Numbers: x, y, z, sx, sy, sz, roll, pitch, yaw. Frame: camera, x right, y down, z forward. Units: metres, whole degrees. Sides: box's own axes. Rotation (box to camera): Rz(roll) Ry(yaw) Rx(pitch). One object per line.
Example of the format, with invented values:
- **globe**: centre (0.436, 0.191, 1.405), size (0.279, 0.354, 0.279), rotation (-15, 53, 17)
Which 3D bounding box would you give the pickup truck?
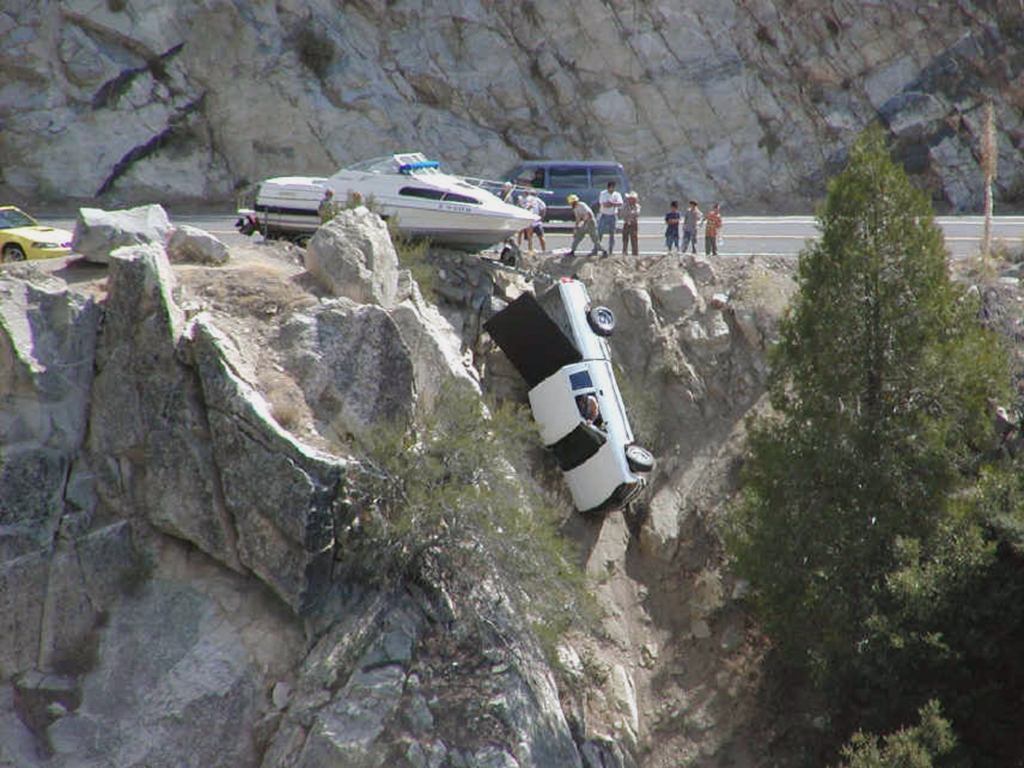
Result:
- **pickup truck**: centre (2.284, 0.729, 91.048), size (4.081, 9.230, 3.576), rotation (-14, -6, -43)
